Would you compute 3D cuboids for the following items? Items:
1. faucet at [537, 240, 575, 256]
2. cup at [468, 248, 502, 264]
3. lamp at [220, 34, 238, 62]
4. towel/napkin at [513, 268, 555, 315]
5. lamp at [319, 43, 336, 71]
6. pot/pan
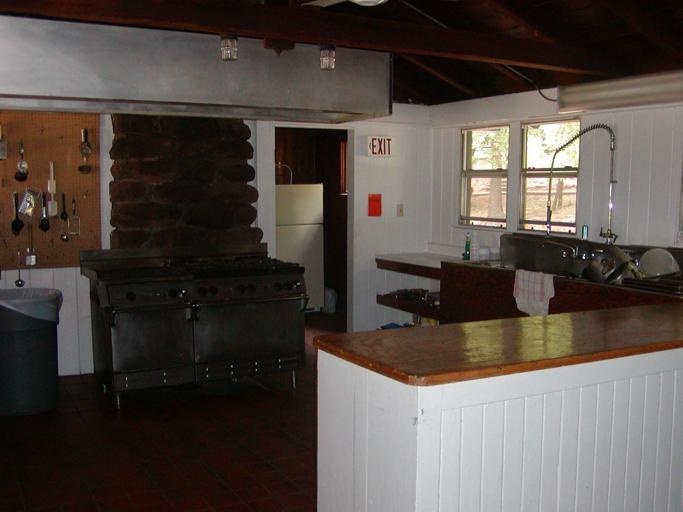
[{"bbox_3d":[1.656,-0.062,4.067,0.060,0.053,0.250,-10,18,-23],"label":"faucet"},{"bbox_3d":[1.465,-0.035,5.635,0.284,0.126,0.205,-4,7,-40],"label":"cup"},{"bbox_3d":[-0.573,-1.050,2.723,0.088,0.135,0.192,-1,7,-10],"label":"lamp"},{"bbox_3d":[1.477,0.284,4.141,0.040,0.355,0.386,-9,11,-28],"label":"towel/napkin"},{"bbox_3d":[-0.074,-1.071,2.926,0.086,0.117,0.183,0,7,-2],"label":"lamp"},{"bbox_3d":[1.993,0.067,3.661,0.447,0.249,0.460,-1,7,-5],"label":"pot/pan"}]
